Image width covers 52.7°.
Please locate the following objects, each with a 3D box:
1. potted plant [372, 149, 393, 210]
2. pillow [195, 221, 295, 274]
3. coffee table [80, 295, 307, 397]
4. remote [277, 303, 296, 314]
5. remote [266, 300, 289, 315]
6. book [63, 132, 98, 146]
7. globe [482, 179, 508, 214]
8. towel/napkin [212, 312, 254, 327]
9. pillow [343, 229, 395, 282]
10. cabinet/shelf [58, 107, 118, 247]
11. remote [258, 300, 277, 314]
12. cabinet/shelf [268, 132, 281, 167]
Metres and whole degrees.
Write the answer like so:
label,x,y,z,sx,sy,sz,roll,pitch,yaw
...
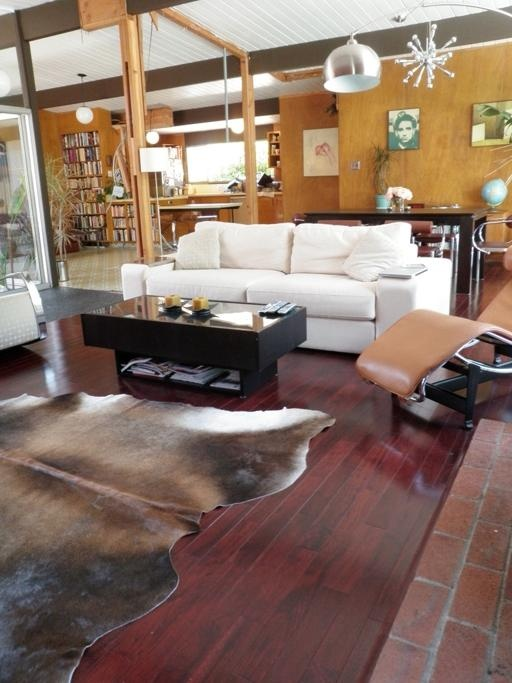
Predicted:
label,x,y,z,sx,sy,sz,roll,pitch,yaw
potted plant,1.978,-2.593,8.110,0.269,0.936,0.682,1,15,11
pillow,-0.115,-0.821,4.556,0.920,0.415,0.218,5,9,20
coffee table,-0.371,0.008,3.147,1.196,0.440,0.543,6,16,28
remote,0.185,-0.202,3.021,0.047,0.017,0.147,6,22,16
remote,0.137,-0.197,3.035,0.092,0.028,0.109,6,26,33
book,-3.925,-4.571,11.692,1.117,0.325,0.137,6,17,29
globe,3.435,-2.150,7.450,0.356,0.414,0.328,5,16,22
towel/napkin,-0.118,-0.129,2.943,0.140,0.031,0.129,8,17,31
pillow,0.835,-0.632,3.744,0.292,0.348,0.320,-6,15,-16
cabinet/shelf,-3.804,-3.578,12.029,1.010,2.563,0.497,3,13,20
remote,0.085,-0.201,3.082,0.065,0.029,0.091,5,32,31
cabinet/shelf,0.440,-4.593,12.375,0.254,0.845,0.385,-3,15,-4
